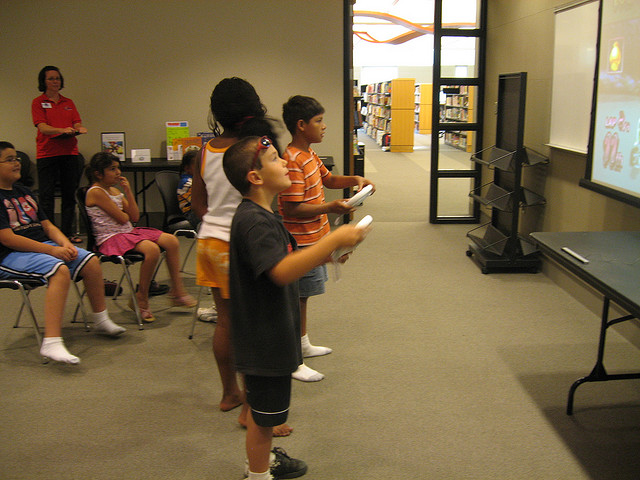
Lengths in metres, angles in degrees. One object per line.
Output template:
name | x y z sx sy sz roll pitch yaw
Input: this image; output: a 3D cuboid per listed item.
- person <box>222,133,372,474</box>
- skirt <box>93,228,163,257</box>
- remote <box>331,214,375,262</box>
person | -0.150 0.377 2.134 0.467 1.613 0.680 -6 19 -11
skirt | -1.552 0.012 4.097 0.473 0.161 0.294 -13 19 -39
remote | 0.134 -0.009 1.799 0.188 0.049 0.178 -32 5 -23
